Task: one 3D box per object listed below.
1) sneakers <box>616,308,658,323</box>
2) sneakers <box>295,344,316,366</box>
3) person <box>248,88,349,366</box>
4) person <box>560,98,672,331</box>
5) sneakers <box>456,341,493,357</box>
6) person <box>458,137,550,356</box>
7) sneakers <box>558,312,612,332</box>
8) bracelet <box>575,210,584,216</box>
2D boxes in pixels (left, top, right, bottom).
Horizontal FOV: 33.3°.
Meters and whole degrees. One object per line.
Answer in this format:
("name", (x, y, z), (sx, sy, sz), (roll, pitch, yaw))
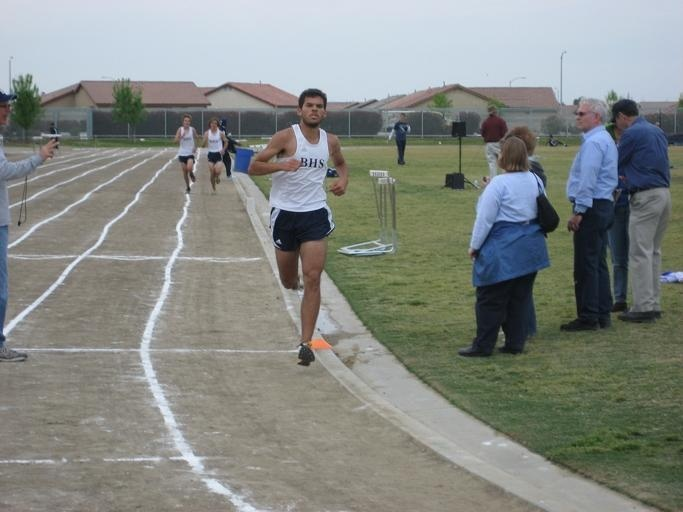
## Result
("sneakers", (3.299, 0.663, 12.785), (0.418, 0.167, 0.148), (3, 6, 17))
("sneakers", (-0.353, 0.989, 11.474), (0.163, 0.258, 0.248), (1, 11, -3))
("person", (-0.466, -0.328, 11.636), (0.755, 2.698, 1.073), (2, 12, 6))
("person", (3.321, -0.505, 12.723), (0.643, 2.450, 0.679), (1, 12, -2))
("sneakers", (1.364, 0.962, 11.822), (0.398, 0.134, 0.131), (3, 5, 10))
("person", (1.677, -0.098, 11.811), (0.896, 2.217, 0.578), (-1, 12, -9))
("sneakers", (2.644, 0.726, 12.504), (0.575, 0.182, 0.192), (-1, 3, -3))
("bracelet", (2.544, -0.457, 12.262), (0.072, 0.035, 0.059), (13, 2, -15))
